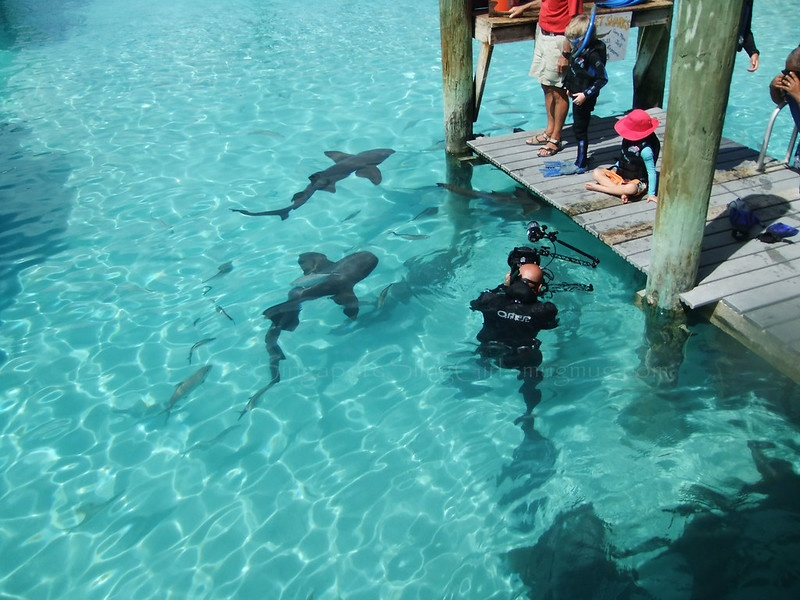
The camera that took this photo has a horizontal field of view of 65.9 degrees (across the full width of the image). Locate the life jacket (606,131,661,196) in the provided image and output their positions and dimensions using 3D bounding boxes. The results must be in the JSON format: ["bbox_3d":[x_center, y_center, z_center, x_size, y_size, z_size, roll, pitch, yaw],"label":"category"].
[{"bbox_3d":[3.374,-1.892,8.561,0.461,0.838,0.822,-10,36,-10],"label":"life jacket"}]

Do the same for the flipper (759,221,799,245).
[{"bbox_3d":[4.607,-0.810,7.534,0.274,0.366,0.113,50,16,1],"label":"flipper"}]

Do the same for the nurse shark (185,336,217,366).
[{"bbox_3d":[-2.714,0.689,8.328,0.159,0.172,0.481,25,40,26],"label":"nurse shark"}]

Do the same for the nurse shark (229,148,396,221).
[{"bbox_3d":[-1.338,-2.214,11.368,2.932,0.426,1.284,-28,54,-24],"label":"nurse shark"}]

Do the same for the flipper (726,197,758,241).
[{"bbox_3d":[4.287,-1.009,7.784,0.497,0.205,0.500,3,62,2],"label":"flipper"}]

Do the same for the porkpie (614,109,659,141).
[{"bbox_3d":[3.246,-2.409,8.378,0.580,0.195,0.502,16,64,24],"label":"porkpie"}]
